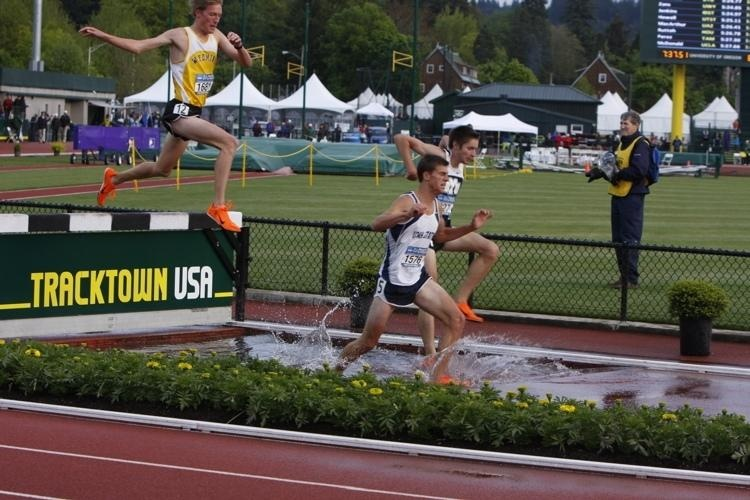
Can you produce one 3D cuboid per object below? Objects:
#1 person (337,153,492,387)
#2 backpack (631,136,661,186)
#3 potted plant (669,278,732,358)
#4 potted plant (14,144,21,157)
[{"bbox_3d":[0.453,0.235,12.656,1.533,2.679,0.947,0,5,-2],"label":"person"},{"bbox_3d":[4.405,-1.452,17.688,0.454,0.713,0.502,-11,-1,43],"label":"backpack"},{"bbox_3d":[4.433,0.920,14.968,0.901,1.084,0.954,1,1,-1],"label":"potted plant"},{"bbox_3d":[-15.183,-4.257,46.096,0.255,0.545,1.469,-1,7,-19],"label":"potted plant"}]
